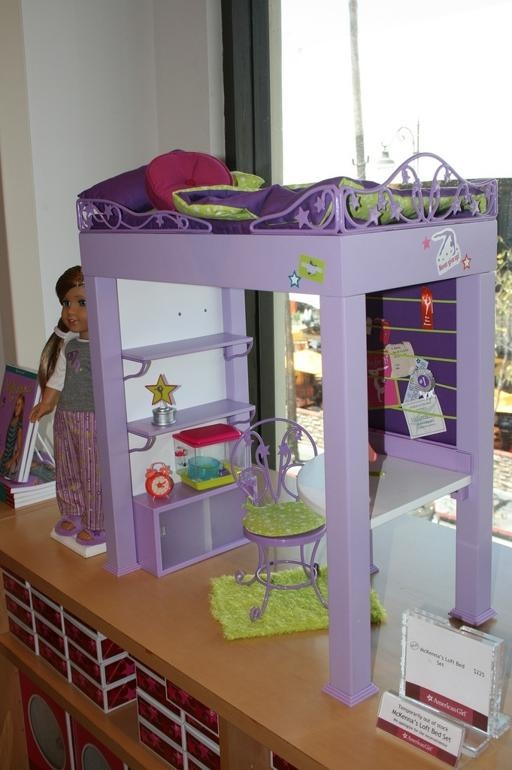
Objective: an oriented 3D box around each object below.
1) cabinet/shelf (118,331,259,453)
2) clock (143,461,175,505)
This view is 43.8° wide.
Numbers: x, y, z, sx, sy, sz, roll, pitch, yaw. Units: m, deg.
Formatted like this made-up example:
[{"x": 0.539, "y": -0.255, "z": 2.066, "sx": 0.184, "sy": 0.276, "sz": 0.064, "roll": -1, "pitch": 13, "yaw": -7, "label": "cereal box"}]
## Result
[{"x": -0.201, "y": 0.023, "z": 2.024, "sx": 0.129, "sy": 0.299, "sz": 0.483, "roll": 6, "pitch": 12, "yaw": 39, "label": "cabinet/shelf"}, {"x": -0.301, "y": 0.305, "z": 1.943, "sx": 0.107, "sy": 0.142, "sz": 0.055, "roll": -1, "pitch": 6, "yaw": -17, "label": "clock"}]
